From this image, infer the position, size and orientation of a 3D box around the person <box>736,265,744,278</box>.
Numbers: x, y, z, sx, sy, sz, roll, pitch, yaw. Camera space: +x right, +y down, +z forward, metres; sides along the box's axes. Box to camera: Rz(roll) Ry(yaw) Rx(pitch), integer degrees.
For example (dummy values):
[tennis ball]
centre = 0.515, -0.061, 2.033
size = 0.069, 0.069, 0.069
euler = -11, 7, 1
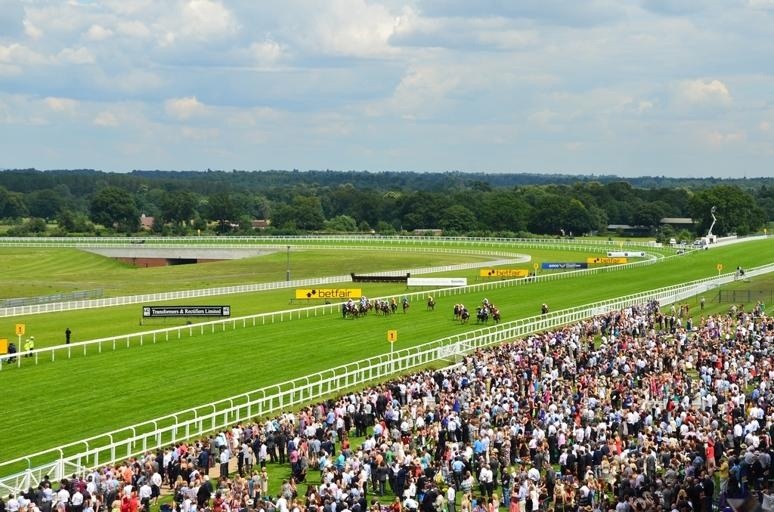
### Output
[person]
centre = 27.692, 1.222, 100.720
size = 0.514, 0.654, 0.947
euler = 3, -35, 22
